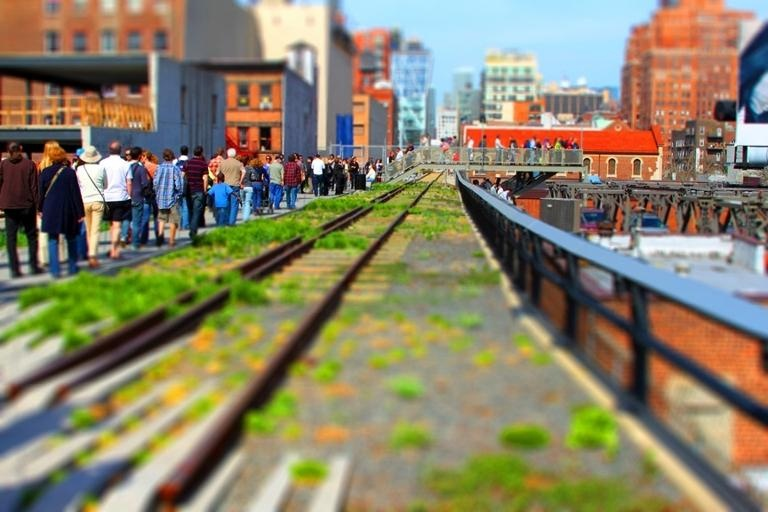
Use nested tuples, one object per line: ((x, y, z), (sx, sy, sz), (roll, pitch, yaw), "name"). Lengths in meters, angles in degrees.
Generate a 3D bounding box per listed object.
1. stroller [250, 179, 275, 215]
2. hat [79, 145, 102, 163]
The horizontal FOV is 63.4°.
((-4.977, -2.280, 24.997), (0.675, 1.396, 1.235), (0, 9, -10), "stroller")
((-6.094, -2.084, 12.878), (0.280, 0.348, 0.412), (-5, 10, -32), "hat")
